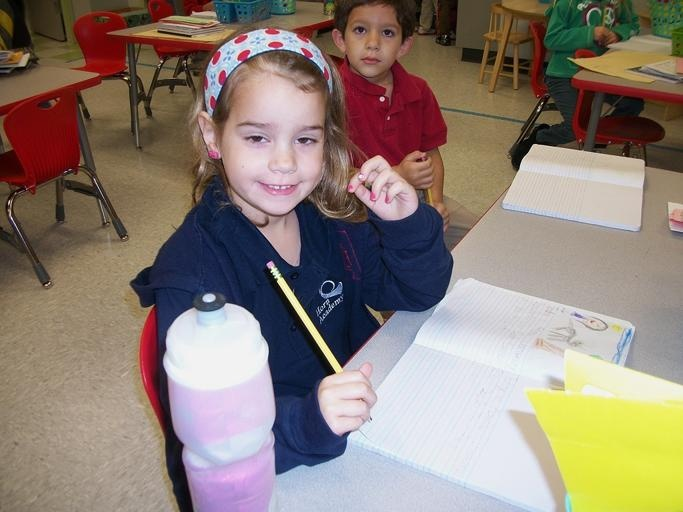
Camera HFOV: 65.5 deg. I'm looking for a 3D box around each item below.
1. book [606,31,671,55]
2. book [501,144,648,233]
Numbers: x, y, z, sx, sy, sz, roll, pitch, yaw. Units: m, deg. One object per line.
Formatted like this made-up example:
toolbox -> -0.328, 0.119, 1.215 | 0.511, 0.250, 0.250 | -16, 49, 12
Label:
book -> 1.836, -1.297, 3.264 | 0.307, 0.089, 0.339 | 21, 46, 28
book -> 0.700, -0.167, 1.592 | 0.312, 0.040, 0.355 | 12, 44, 22
